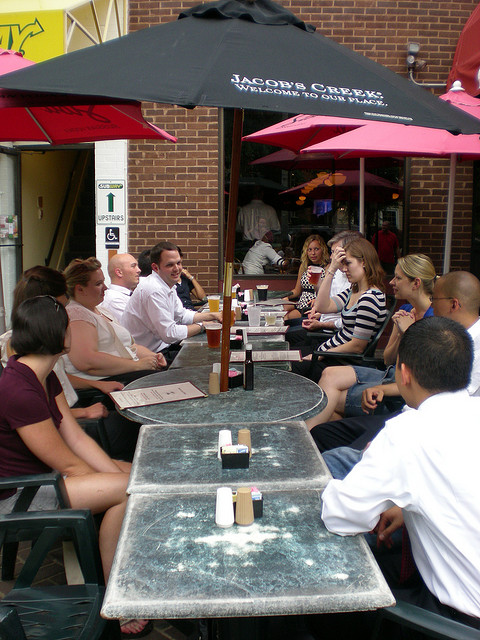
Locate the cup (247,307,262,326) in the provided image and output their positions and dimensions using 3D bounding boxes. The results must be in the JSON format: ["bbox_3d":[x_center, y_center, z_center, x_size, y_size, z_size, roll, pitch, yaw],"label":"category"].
[{"bbox_3d":[0.095,-0.030,4.202,0.138,0.146,0.132,0,1,0],"label":"cup"}]

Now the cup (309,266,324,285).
[{"bbox_3d":[0.737,-0.437,5.121,0.173,0.202,0.151,3,2,-4],"label":"cup"}]

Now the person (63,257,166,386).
[{"bbox_3d":[-0.829,0.020,3.548,0.729,0.794,0.624,0,5,-20],"label":"person"}]

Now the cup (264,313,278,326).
[{"bbox_3d":[0.253,-0.004,4.286,0.096,0.076,0.099,1,-2,0],"label":"cup"}]

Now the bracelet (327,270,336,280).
[{"bbox_3d":[0.799,-0.399,4.579,0.022,0.085,0.091,-46,-13,6],"label":"bracelet"}]

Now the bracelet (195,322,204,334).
[{"bbox_3d":[-0.324,0.064,4.443,0.064,0.076,0.037,-2,-1,-8],"label":"bracelet"}]

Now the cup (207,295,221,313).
[{"bbox_3d":[-0.214,-0.146,4.593,0.162,0.176,0.149,1,9,0],"label":"cup"}]

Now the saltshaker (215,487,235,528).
[{"bbox_3d":[-0.034,0.434,1.223,0.046,0.086,0.040,0,7,-2],"label":"saltshaker"}]

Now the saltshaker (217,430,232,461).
[{"bbox_3d":[-0.048,0.395,1.666,0.041,0.079,0.130,0,6,-2],"label":"saltshaker"}]

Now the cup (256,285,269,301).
[{"bbox_3d":[0.263,-0.301,5.762,0.167,0.166,0.159,-1,0,0],"label":"cup"}]

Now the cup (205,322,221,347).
[{"bbox_3d":[-0.149,0.100,3.551,0.153,0.154,0.143,1,8,0],"label":"cup"}]
